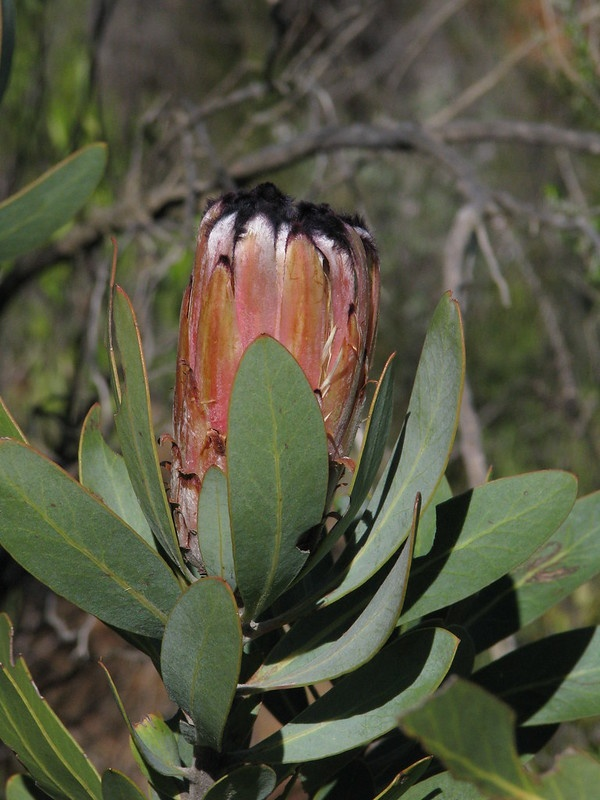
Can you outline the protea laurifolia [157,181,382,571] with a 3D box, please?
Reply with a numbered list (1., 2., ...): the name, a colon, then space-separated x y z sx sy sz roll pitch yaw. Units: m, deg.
1. protea laurifolia: -0.023 -0.022 1.180 0.228 0.345 0.184 -5 24 -6
